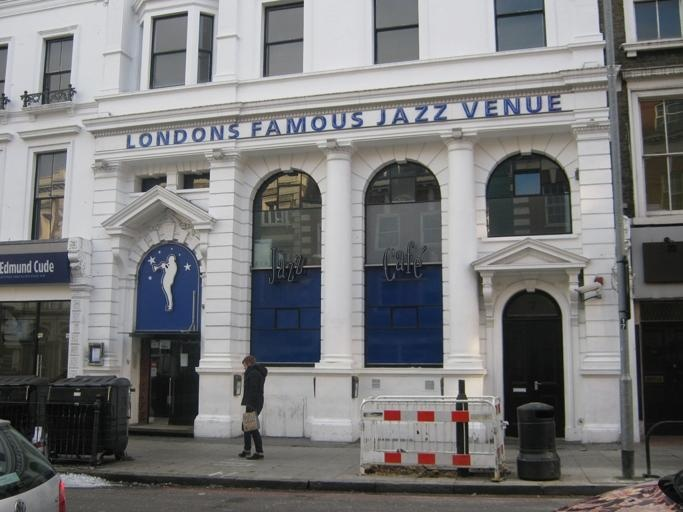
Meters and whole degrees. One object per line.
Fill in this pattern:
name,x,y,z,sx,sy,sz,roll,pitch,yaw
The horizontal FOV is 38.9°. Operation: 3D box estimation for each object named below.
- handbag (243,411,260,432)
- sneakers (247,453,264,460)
handbag,-2.354,4.212,24.832,0.617,0.579,0.257,-2,-7,-10
sneakers,-2.258,5.156,25.014,0.413,0.167,0.157,2,-12,3
